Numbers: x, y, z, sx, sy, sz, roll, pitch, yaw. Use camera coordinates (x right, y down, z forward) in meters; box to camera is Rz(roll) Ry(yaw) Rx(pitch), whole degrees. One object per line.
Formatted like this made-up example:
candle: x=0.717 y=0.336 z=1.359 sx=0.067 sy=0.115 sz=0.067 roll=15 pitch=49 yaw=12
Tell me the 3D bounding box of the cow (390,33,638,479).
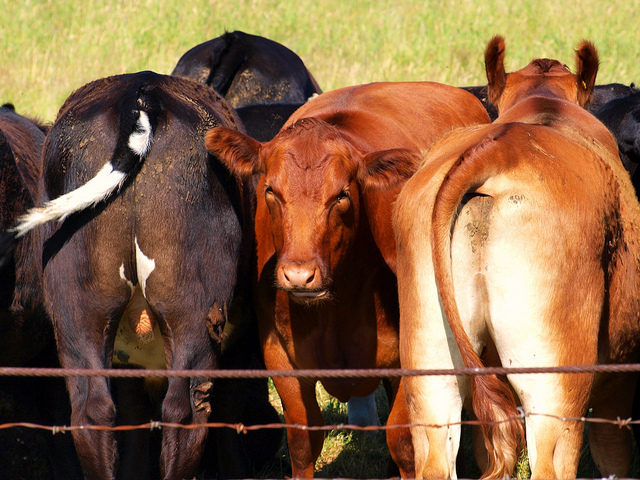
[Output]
cow: x=1.329 y=0.221 z=7.414 sx=1.488 sy=2.681 sz=1.228 roll=0 pitch=1 yaw=-32
